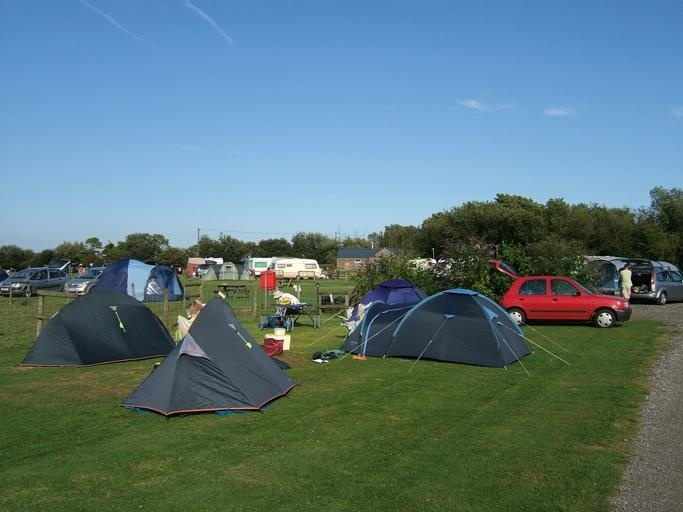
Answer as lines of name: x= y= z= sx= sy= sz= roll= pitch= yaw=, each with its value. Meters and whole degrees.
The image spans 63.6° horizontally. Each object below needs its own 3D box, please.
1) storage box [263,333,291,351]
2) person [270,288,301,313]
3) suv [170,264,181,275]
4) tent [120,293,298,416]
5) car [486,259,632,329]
storage box: x=-1.650 y=2.352 z=15.261 sx=0.545 sy=0.342 sz=0.540 roll=1 pitch=-5 yaw=-7
person: x=-2.012 y=1.576 z=18.778 sx=1.199 sy=0.513 sz=0.792 roll=8 pitch=3 yaw=23
suv: x=-17.312 y=1.361 z=57.474 sx=1.166 sy=1.072 sz=2.495 roll=0 pitch=-3 yaw=-13
tent: x=-2.418 y=2.201 z=10.597 sx=2.144 sy=1.239 sz=2.423 roll=-1 pitch=1 yaw=21
car: x=7.633 y=1.346 z=19.460 sx=3.794 sy=1.879 sz=2.090 roll=-1 pitch=-2 yaw=4
